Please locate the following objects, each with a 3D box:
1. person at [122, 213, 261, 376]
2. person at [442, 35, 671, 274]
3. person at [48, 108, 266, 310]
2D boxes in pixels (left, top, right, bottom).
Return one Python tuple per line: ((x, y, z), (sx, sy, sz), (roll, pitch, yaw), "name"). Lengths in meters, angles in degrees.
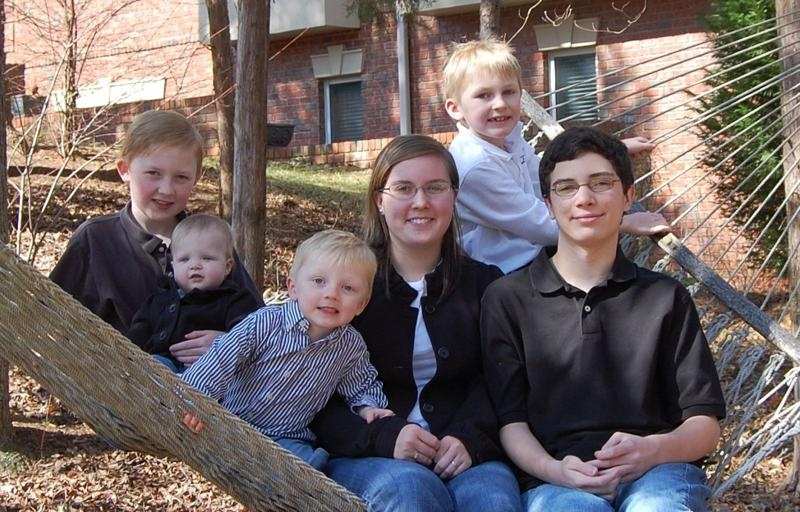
((-1.033, 0.221, 3.334), (0.652, 0.839, 0.565), (2, -11, 1), "person")
((0.790, -0.545, 3.807), (1.196, 1.280, 0.795), (-2, 28, 21), "person")
((-1.273, -0.206, 3.699), (1.193, 1.075, 0.562), (4, 7, -18), "person")
